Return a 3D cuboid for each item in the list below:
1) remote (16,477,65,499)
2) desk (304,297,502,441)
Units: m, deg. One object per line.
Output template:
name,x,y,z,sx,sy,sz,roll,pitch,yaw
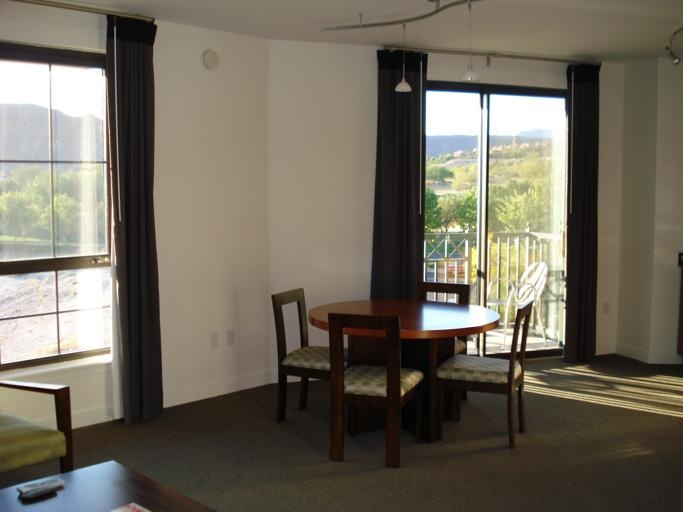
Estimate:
remote,-1.638,1.263,3.132,0.138,0.036,0.098,-3,5,-28
desk,0.589,0.648,4.538,1.124,0.765,1.149,5,9,43
